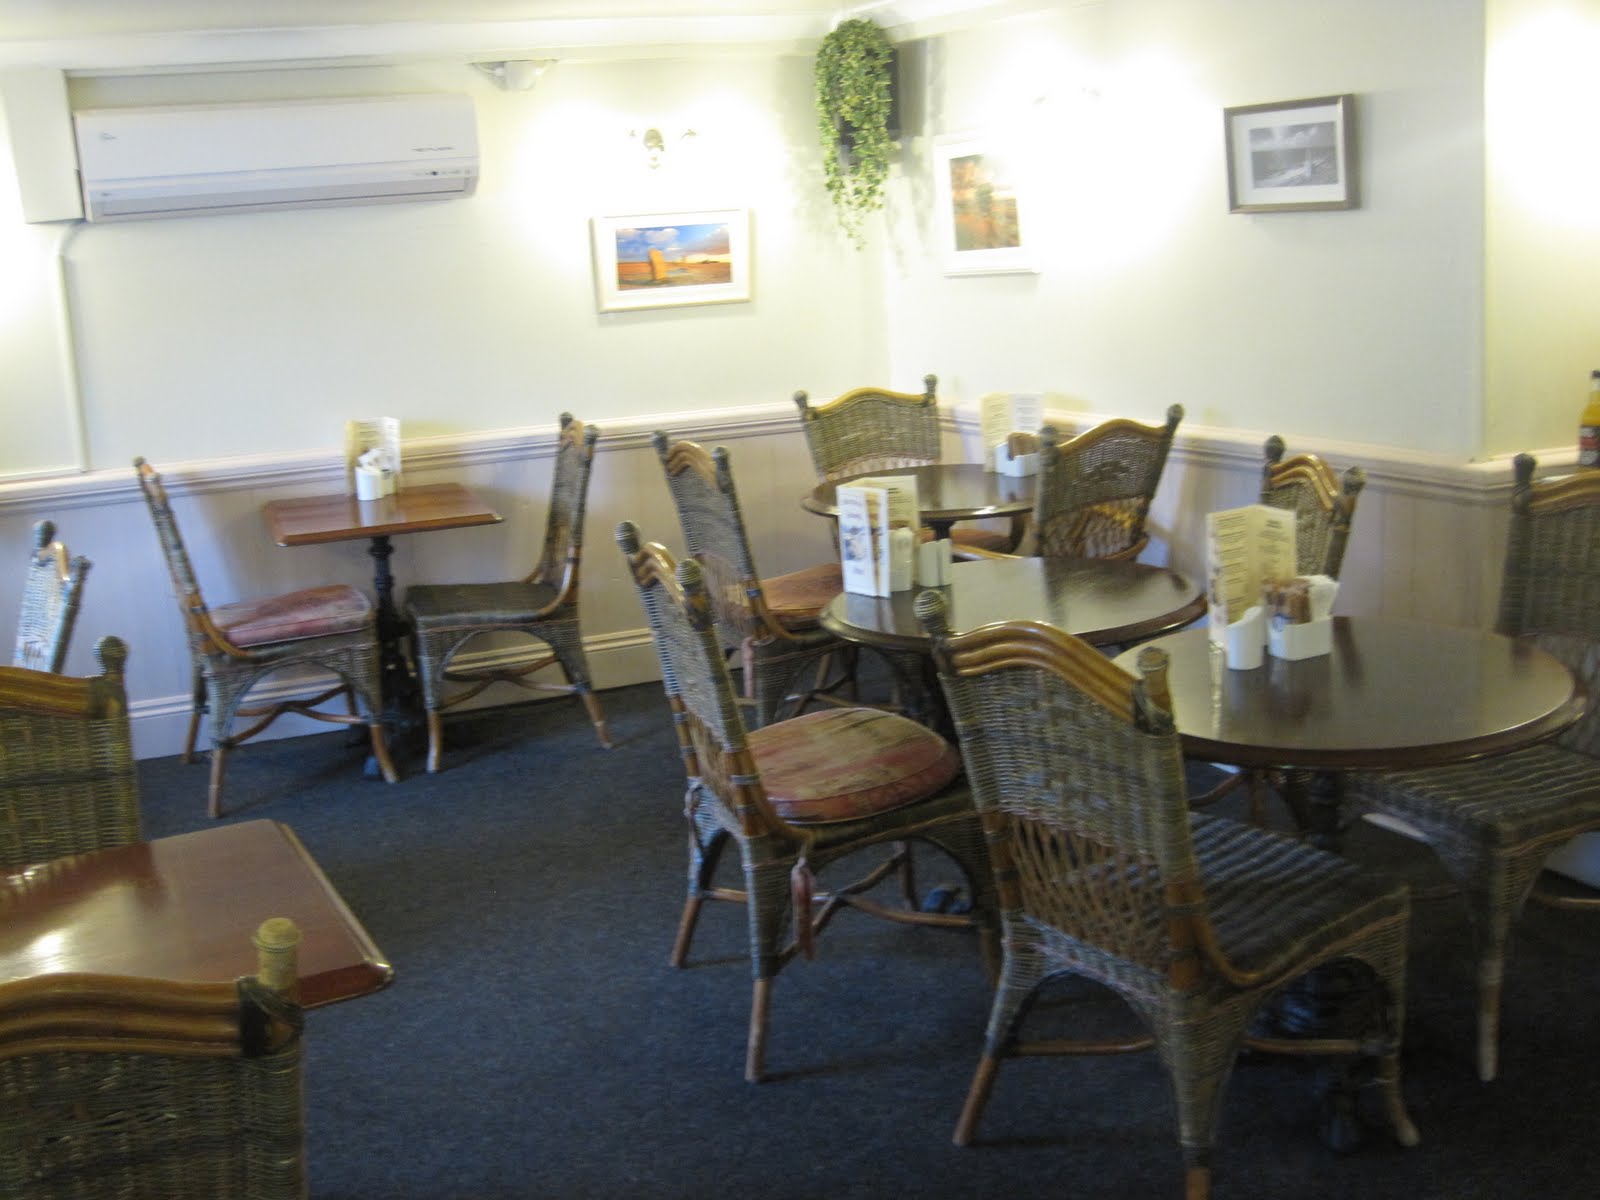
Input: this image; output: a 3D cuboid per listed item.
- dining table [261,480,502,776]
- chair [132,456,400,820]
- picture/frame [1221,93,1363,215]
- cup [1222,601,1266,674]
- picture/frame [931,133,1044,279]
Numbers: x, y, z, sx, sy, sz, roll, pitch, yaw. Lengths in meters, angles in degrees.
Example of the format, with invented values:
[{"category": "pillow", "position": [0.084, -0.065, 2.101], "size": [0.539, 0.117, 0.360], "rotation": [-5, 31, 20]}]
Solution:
[{"category": "dining table", "position": [-1.461, 0.009, 5.374], "size": [1.122, 0.984, 1.047], "rotation": [-9, 22, -19]}, {"category": "chair", "position": [-1.985, 0.052, 4.858], "size": [0.720, 1.242, 0.807], "rotation": [-15, 19, -24]}, {"category": "picture/frame", "position": [1.527, -1.376, 4.118], "size": [0.475, 0.290, 0.025], "rotation": [-11, 17, -17]}, {"category": "cup", "position": [0.968, 0.080, 2.886], "size": [0.091, 0.118, 0.124], "rotation": [-1, 17, 18]}, {"category": "picture/frame", "position": [0.757, -1.588, 5.358], "size": [0.105, 0.551, 0.507], "rotation": [-18, 20, -28]}]
